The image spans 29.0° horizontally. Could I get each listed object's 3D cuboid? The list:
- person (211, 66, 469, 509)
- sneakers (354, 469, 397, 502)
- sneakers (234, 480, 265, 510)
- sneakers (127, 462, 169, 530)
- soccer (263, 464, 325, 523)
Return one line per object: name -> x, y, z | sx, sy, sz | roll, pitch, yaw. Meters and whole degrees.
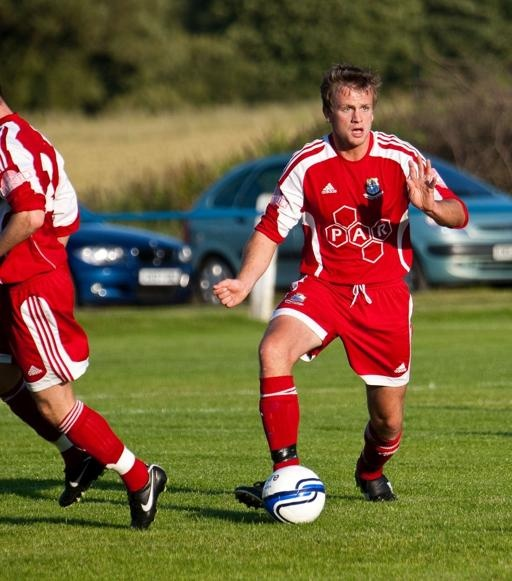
person -> 0.332, 0.009, 3.949 | 0.966, 1.747, 0.632 | -13, 24, -32
sneakers -> 0.496, 0.814, 4.122 | 0.072, 0.071, 0.189 | -2, 11, -27
sneakers -> 0.005, 0.753, 3.645 | 0.134, 0.078, 0.046 | 7, 32, 25
sneakers -> -0.423, 0.763, 3.710 | 0.143, 0.250, 0.099 | 14, -13, -40
soccer -> 0.101, 0.751, 3.668 | 0.250, 0.216, 0.195 | 4, 56, -17
